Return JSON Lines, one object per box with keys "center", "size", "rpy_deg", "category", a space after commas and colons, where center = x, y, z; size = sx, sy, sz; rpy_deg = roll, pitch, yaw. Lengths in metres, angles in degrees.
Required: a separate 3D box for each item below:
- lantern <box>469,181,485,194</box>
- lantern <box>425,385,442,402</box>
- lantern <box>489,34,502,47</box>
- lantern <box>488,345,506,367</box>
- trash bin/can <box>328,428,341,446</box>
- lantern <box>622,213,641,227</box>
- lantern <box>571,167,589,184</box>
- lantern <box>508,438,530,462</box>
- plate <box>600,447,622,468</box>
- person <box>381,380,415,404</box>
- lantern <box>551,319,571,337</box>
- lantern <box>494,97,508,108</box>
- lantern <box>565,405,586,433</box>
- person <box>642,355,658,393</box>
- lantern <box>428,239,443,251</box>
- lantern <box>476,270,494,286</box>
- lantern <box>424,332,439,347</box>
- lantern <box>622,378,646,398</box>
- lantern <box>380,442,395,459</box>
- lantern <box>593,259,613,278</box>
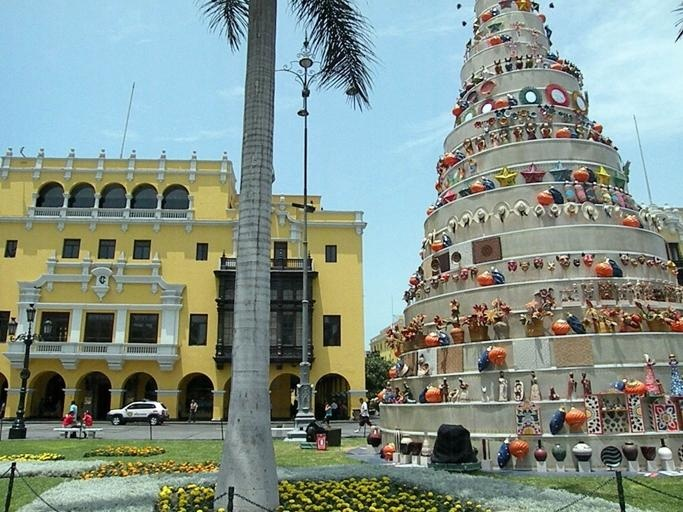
{"center": [5.198, -2.624, 21.978], "size": [0.442, 0.474, 0.248], "rpy_deg": [10, 8, 40], "category": "lantern"}
{"center": [3.142, 4.822, 19.757], "size": [0.464, 0.376, 0.485], "rpy_deg": [18, -54, -16], "category": "lantern"}
{"center": [6.801, -9.583, 25.510], "size": [0.559, 0.465, 0.447], "rpy_deg": [-7, -31, 21], "category": "lantern"}
{"center": [5.081, 3.351, 19.039], "size": [0.598, 0.651, 0.544], "rpy_deg": [5, -3, 30], "category": "lantern"}
{"center": [-0.324, 7.793, 24.646], "size": [0.670, 0.978, 0.955], "rpy_deg": [-1, -9, -2], "category": "trash bin/can"}
{"center": [10.556, -1.302, 21.020], "size": [0.470, 0.254, 0.676], "rpy_deg": [7, 0, 27], "category": "lantern"}
{"center": [8.882, -3.013, 21.251], "size": [0.641, 0.620, 0.264], "rpy_deg": [1, -18, -5], "category": "lantern"}
{"center": [5.501, 6.015, 17.795], "size": [0.544, 0.703, 0.596], "rpy_deg": [7, -21, -8], "category": "lantern"}
{"center": [8.258, 6.173, 17.632], "size": [0.557, 0.619, 0.174], "rpy_deg": [-4, -13, 7], "category": "plate"}
{"center": [2.220, 5.318, 21.871], "size": [0.528, 0.770, 1.660], "rpy_deg": [8, -25, -24], "category": "person"}
{"center": [7.203, 2.359, 18.923], "size": [0.465, 0.516, 0.519], "rpy_deg": [-10, -50, -5], "category": "lantern"}
{"center": [6.467, -6.209, 23.240], "size": [0.420, 0.479, 0.314], "rpy_deg": [-27, -53, 32], "category": "lantern"}
{"center": [7.249, 5.124, 17.790], "size": [0.642, 0.716, 0.634], "rpy_deg": [-3, -11, 12], "category": "lantern"}
{"center": [9.814, 3.767, 18.274], "size": [0.518, 1.279, 0.243], "rpy_deg": [5, -19, -17], "category": "person"}
{"center": [3.766, -0.423, 22.612], "size": [0.363, 0.212, 0.393], "rpy_deg": [-27, 9, -23], "category": "lantern"}
{"center": [5.120, 0.794, 20.473], "size": [0.588, 0.636, 0.347], "rpy_deg": [-10, -21, 27], "category": "lantern"}
{"center": [3.278, 3.051, 20.878], "size": [0.351, 0.400, 0.491], "rpy_deg": [18, -18, 5], "category": "lantern"}
{"center": [9.177, 4.156, 18.066], "size": [0.464, 0.184, 0.518], "rpy_deg": [-20, 20, 5], "category": "lantern"}
{"center": [1.653, 6.970, 20.294], "size": [0.350, 0.512, 0.852], "rpy_deg": [11, -22, -30], "category": "lantern"}
{"center": [8.974, 0.494, 19.619], "size": [0.540, 0.551, 0.427], "rpy_deg": [2, 2, -7], "category": "lantern"}
